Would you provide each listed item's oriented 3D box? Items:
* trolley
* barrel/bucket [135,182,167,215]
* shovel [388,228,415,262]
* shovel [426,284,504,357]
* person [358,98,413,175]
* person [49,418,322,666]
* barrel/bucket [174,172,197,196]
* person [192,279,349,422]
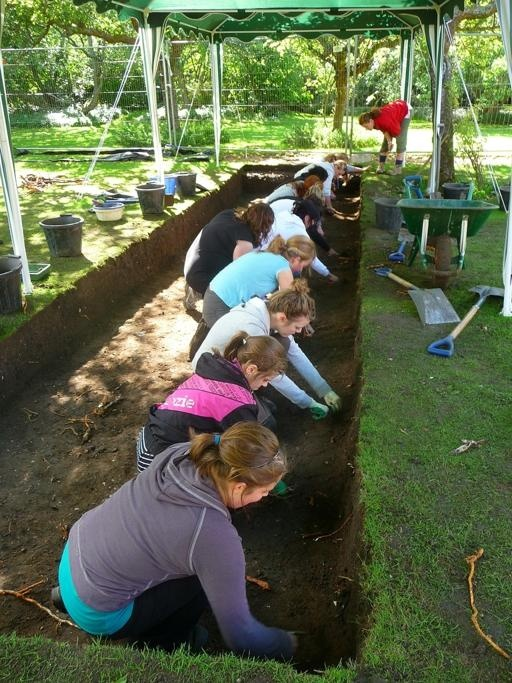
[{"bbox_3d":[1.751,-0.959,4.898,0.807,0.687,1.335,4,19,14],"label":"trolley"},{"bbox_3d":[-1.484,-1.965,7.286,0.363,0.441,0.471,-2,20,-2],"label":"barrel/bucket"},{"bbox_3d":[1.600,-1.013,5.654,0.233,0.157,0.683,0,37,28],"label":"shovel"},{"bbox_3d":[1.604,-0.158,3.932,0.379,0.057,1.259,11,25,28],"label":"shovel"},{"bbox_3d":[2.449,-3.805,9.731,0.748,1.294,1.408,7,21,21],"label":"person"},{"bbox_3d":[-0.209,0.709,1.841,0.832,0.969,0.744,13,30,2],"label":"person"},{"bbox_3d":[-1.144,-2.513,8.405,0.397,0.300,0.369,0,24,0],"label":"barrel/bucket"},{"bbox_3d":[0.120,0.030,3.073,0.876,0.751,0.473,13,12,16],"label":"person"}]
